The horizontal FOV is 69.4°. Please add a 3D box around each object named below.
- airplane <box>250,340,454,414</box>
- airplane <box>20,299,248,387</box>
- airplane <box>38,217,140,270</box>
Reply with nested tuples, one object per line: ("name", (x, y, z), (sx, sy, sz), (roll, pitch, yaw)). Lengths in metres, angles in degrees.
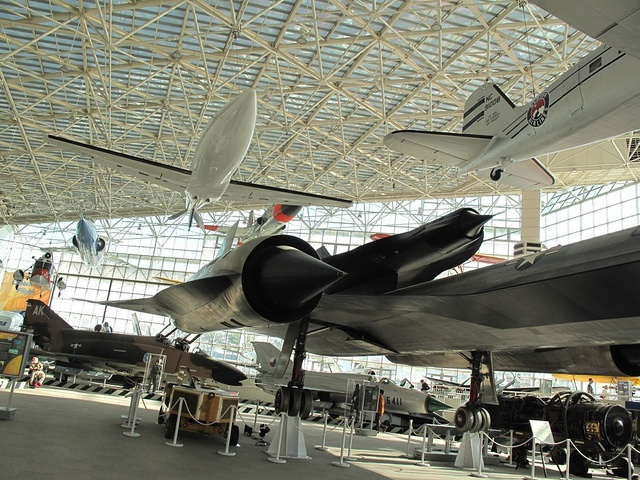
("airplane", (0.905, 5.218, 16.709), (7.279, 1.536, 5.126), (9, -9, -2))
("airplane", (-8.437, 4.440, 19.218), (6.753, 1.191, 5.045), (9, -5, 8))
("airplane", (-14.171, 0.188, 27.887), (5.293, 1.562, 4.779), (11, -20, -8))
